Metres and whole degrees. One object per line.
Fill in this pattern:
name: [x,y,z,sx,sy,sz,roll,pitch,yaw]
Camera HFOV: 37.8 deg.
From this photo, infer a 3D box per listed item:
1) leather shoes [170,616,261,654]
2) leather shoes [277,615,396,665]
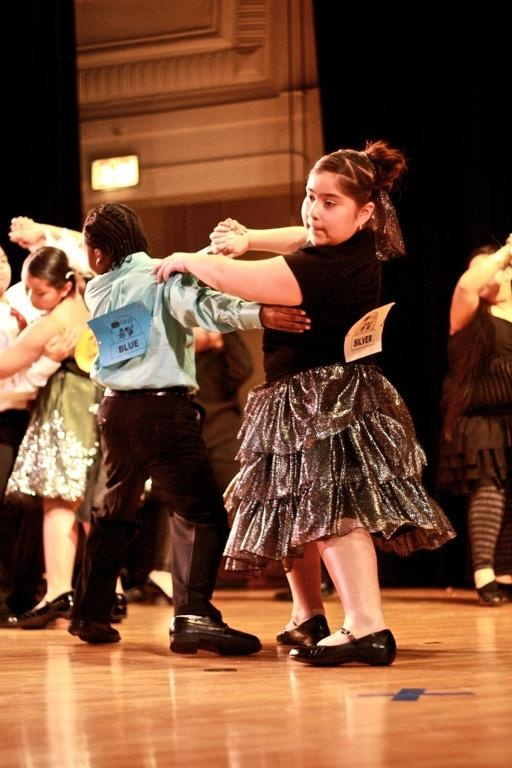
leather shoes: [-0.093,0.544,1.619,0.222,0.085,0.078,8,-20,-23]
leather shoes: [0.147,0.537,1.534,0.234,0.057,0.144,-2,-7,35]
